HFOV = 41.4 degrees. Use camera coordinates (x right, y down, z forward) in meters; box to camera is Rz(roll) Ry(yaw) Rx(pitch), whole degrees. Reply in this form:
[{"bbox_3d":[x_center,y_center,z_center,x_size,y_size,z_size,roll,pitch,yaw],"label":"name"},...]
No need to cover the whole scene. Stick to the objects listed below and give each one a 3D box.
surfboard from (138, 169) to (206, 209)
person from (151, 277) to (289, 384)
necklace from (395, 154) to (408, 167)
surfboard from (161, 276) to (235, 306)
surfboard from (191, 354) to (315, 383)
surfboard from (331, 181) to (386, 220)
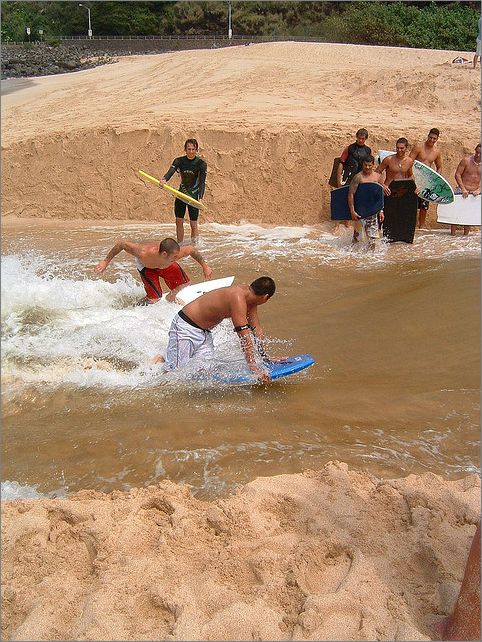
[{"bbox_3d":[-0.895,-1.775,8.516,0.685,0.490,1.758,-3,16,-6],"label":"surfboard"},{"bbox_3d":[-0.226,0.109,4.798,0.978,1.040,0.389,11,16,1],"label":"person"},{"bbox_3d":[2.058,-2.097,8.234,0.139,0.169,0.057,0,3,5],"label":"necklace"},{"bbox_3d":[-0.474,-0.320,6.272,0.798,0.234,0.111,-16,-23,10],"label":"surfboard"},{"bbox_3d":[0.075,0.364,4.610,0.882,0.162,0.442,-1,16,1],"label":"surfboard"},{"bbox_3d":[1.529,-1.591,8.375,0.329,0.541,1.006,-8,18,-20],"label":"surfboard"}]
